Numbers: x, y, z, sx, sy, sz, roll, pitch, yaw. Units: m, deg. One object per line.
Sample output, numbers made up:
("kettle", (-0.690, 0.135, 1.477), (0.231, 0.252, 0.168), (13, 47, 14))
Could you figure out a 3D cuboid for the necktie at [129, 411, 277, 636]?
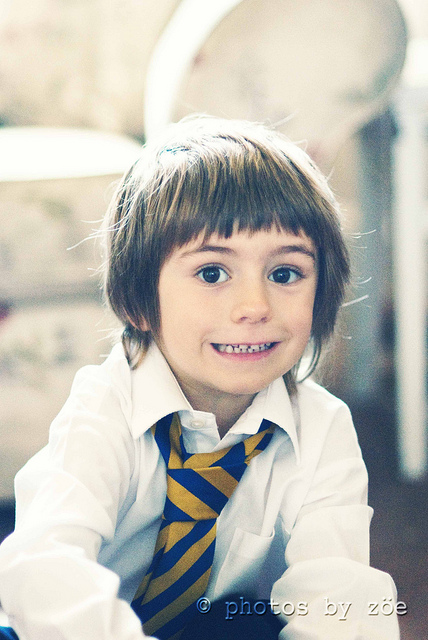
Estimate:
("necktie", (-0.012, 0.190, 0.718), (0.087, 0.193, 0.182), (1, 12, 27))
